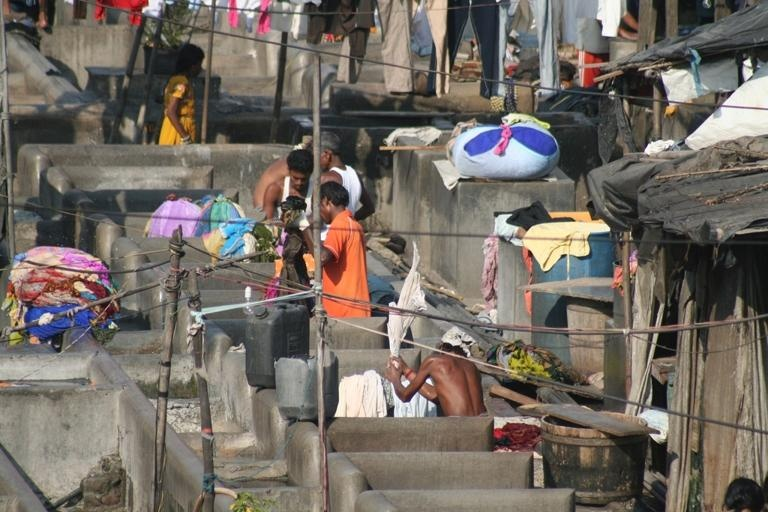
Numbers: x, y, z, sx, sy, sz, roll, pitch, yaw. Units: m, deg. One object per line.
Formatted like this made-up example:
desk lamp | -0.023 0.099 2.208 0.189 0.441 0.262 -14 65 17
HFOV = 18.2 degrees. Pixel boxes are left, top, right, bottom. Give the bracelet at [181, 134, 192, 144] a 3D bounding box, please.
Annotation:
bracelet | -3.712 -2.110 44.154 0.143 0.136 0.140 -16 23 -3

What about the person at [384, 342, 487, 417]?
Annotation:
person | 0.872 1.867 35.537 1.039 1.158 1.359 -3 -4 -27

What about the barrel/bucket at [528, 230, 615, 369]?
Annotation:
barrel/bucket | 3.121 0.667 38.415 1.191 2.180 1.063 1 -3 -20
